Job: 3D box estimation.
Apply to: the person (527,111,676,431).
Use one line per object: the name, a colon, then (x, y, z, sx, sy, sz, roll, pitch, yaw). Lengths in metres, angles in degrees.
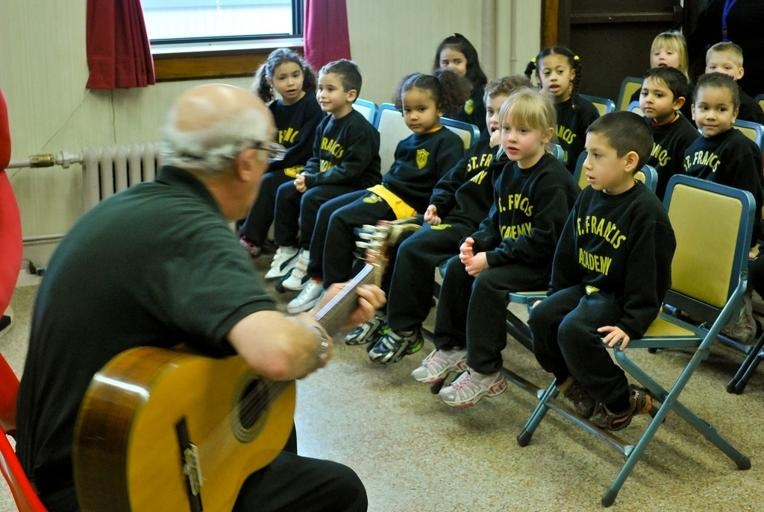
person: (0.817, 0.058, 2.567, 0.495, 1.115, 0.497, -2, 22, 3)

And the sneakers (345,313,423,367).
sneakers: (0.007, 0.414, 3.283, 0.345, 0.136, 0.204, -9, 41, -32)

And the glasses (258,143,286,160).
glasses: (-0.284, -0.281, 1.769, 0.058, 0.054, 0.017, 6, -4, -18)

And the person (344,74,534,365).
person: (0.269, -0.077, 3.206, 0.239, 1.540, 0.635, 24, 17, -9)

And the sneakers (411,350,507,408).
sneakers: (0.338, 0.431, 2.894, 0.286, 0.197, 0.332, -8, 18, -19)

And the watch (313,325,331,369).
watch: (-0.143, 0.213, 1.665, 0.022, 0.087, 0.088, 14, 32, -10)
